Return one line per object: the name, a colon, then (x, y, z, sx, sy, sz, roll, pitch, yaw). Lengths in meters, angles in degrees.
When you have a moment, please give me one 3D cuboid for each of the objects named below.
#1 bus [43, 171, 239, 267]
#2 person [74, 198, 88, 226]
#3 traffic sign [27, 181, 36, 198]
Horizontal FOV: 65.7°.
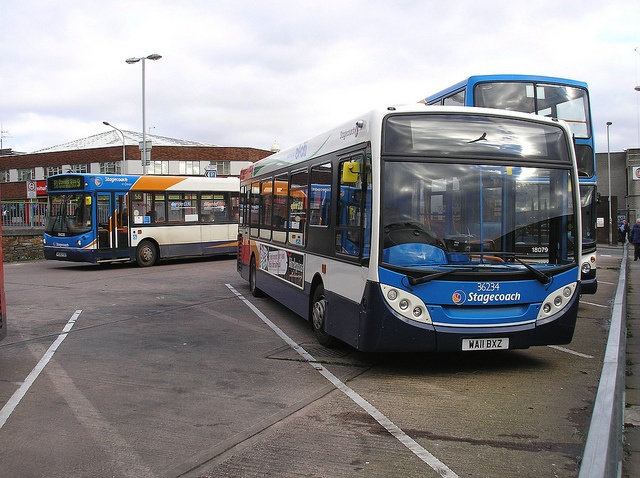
bus: (-7.182, -0.766, 20.726, 6.550, 3.693, 2.070, -1, 3, -24)
person: (-9.195, -1.017, 19.133, 0.665, 0.944, 0.216, 4, 0, 22)
traffic sign: (-14.649, -2.462, 25.084, 0.416, 0.849, 1.133, -2, 3, -31)
